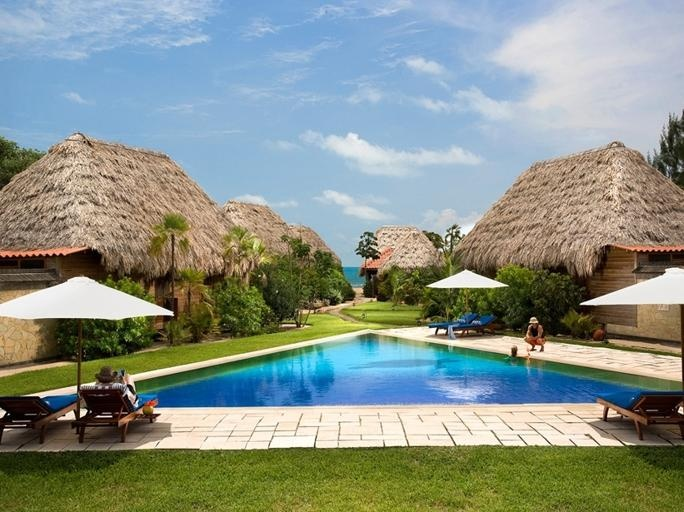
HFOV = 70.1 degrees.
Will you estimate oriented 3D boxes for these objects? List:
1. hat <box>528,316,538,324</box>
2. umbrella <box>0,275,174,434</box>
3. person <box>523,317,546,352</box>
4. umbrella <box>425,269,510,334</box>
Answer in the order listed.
[{"bbox_3d":[7.095,2.408,18.146,0.213,0.275,0.663,0,2,17],"label":"hat"},{"bbox_3d":[-5.442,1.990,10.516,3.155,2.683,3.203,0,-1,18],"label":"umbrella"},{"bbox_3d":[7.176,2.910,18.244,0.634,1.284,1.353,0,2,20],"label":"person"},{"bbox_3d":[5.215,1.964,21.192,3.250,2.168,3.048,1,-2,-36],"label":"umbrella"}]
